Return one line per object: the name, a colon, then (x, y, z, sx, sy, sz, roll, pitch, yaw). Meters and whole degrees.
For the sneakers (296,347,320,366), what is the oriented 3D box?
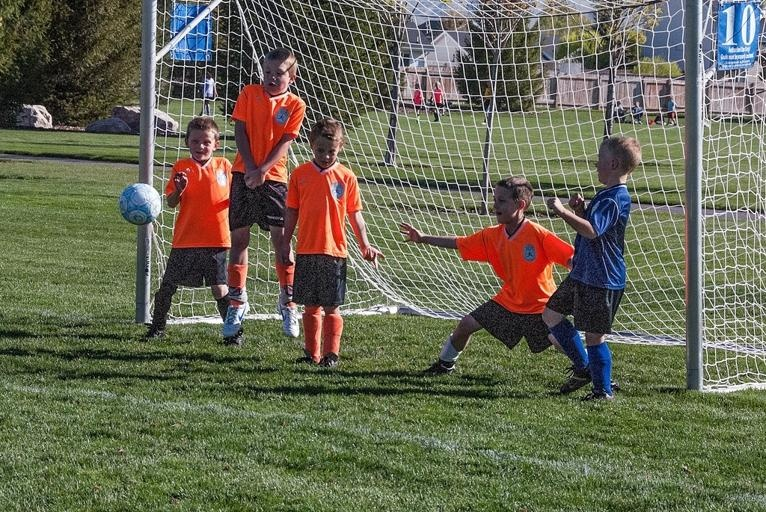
sneakers: (-0.675, 0.943, 9.878, 0.278, 0.205, 0.096, 1, 2, 7)

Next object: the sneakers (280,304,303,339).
sneakers: (-0.877, 0.635, 10.324, 0.146, 0.423, 0.168, -6, -16, -42)

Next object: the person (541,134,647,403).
person: (1.782, 0.111, 9.225, 0.811, 2.236, 0.590, -1, 13, -11)

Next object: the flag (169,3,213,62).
flag: (-2.002, -2.342, 11.090, 0.609, 0.842, 0.088, -5, 20, -28)

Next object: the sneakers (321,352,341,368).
sneakers: (-0.489, 0.961, 9.780, 0.176, 0.089, 0.085, -7, 1, 24)

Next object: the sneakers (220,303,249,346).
sneakers: (-1.445, 0.655, 10.356, 0.169, 0.457, 0.204, 4, 3, 11)

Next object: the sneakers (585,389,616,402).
sneakers: (1.849, 1.202, 9.264, 0.283, 0.132, 0.100, 5, -3, 1)

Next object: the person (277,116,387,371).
person: (-0.528, -0.110, 9.762, 0.777, 2.248, 0.571, 0, 13, -6)

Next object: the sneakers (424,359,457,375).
sneakers: (0.519, 1.031, 9.766, 0.292, 0.152, 0.123, -7, 4, 3)

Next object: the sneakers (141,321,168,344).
sneakers: (-2.215, 0.753, 10.316, 0.214, 0.230, 0.149, 1, 6, 4)
